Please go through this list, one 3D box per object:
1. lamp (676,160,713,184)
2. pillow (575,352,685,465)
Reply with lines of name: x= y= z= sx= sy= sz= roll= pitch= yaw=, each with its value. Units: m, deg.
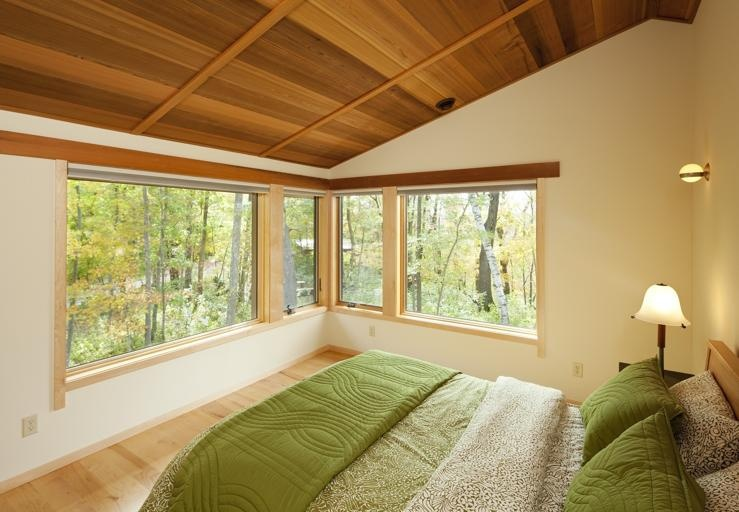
lamp: x=2.454 y=-0.643 z=3.514 sx=0.217 sy=0.163 sz=0.112 roll=4 pitch=2 yaw=24
pillow: x=1.430 y=0.880 z=2.877 sx=0.179 sy=0.579 sz=0.601 roll=46 pitch=22 yaw=9
